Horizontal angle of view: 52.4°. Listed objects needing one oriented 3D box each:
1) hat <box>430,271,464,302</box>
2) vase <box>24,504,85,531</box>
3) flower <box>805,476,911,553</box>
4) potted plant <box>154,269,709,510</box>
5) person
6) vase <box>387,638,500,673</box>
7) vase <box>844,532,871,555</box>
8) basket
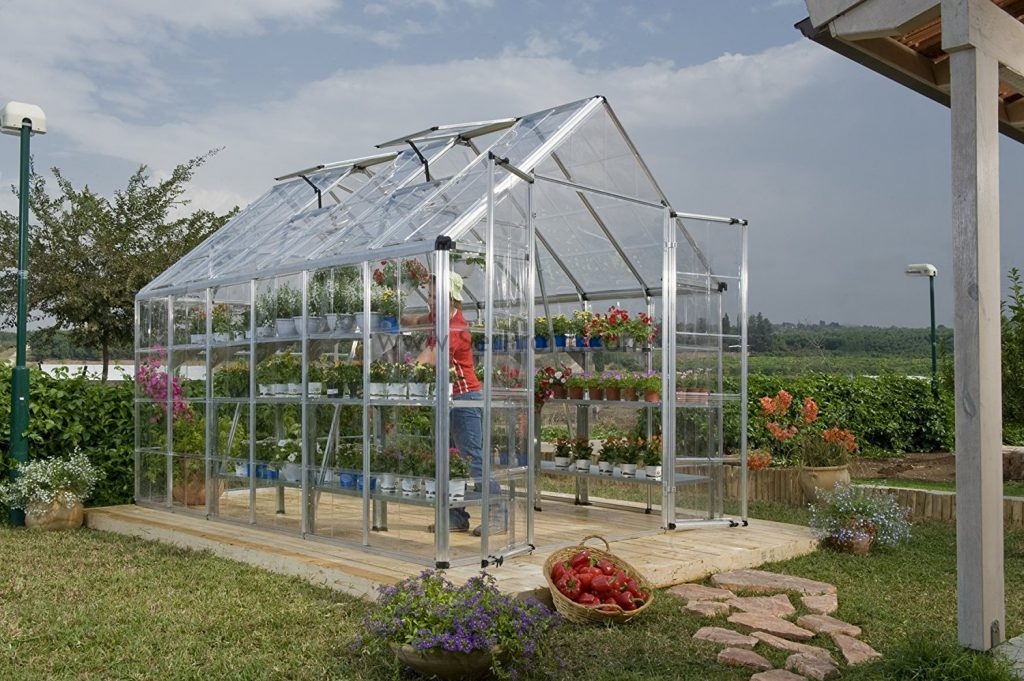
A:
[{"bbox_3d":[-0.761,-0.647,12.288,0.393,0.376,0.193,-2,11,-6],"label":"hat"},{"bbox_3d":[-6.350,2.429,14.428,0.490,0.188,0.386,0,-2,3],"label":"vase"},{"bbox_3d":[4.431,2.289,13.553,0.907,0.667,0.944,2,7,-1],"label":"flower"},{"bbox_3d":[-1.241,0.652,13.523,2.289,2.263,3.222,-1,1,-40],"label":"potted plant"},{"bbox_3d":[-0.876,0.671,12.733,1.031,3.251,0.962,-6,14,-16],"label":"person"},{"bbox_3d":[-0.690,3.105,10.243,1.011,0.310,0.183,1,11,7],"label":"vase"},{"bbox_3d":[4.369,2.497,13.155,0.286,0.222,0.279,-1,3,-43],"label":"vase"},{"bbox_3d":[0.927,2.606,11.331,1.133,0.628,0.771,-1,12,-1],"label":"basket"}]
